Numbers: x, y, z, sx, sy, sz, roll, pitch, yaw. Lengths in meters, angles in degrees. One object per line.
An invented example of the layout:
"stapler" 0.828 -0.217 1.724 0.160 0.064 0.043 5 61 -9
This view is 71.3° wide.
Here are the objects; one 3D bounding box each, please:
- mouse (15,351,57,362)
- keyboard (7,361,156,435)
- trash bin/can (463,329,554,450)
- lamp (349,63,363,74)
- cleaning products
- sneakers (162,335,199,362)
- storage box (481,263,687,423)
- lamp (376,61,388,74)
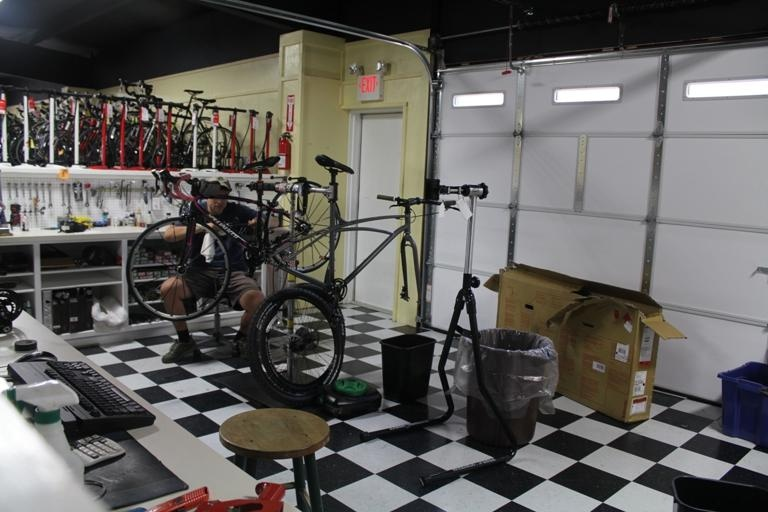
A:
"mouse" -1.642 0.478 2.569 0.069 0.025 0.104 3 3 24
"keyboard" -1.219 0.445 2.193 0.333 0.084 0.612 -6 23 -44
"trash bin/can" 0.811 0.934 4.101 0.776 0.745 0.794 0 5 3
"lamp" -0.337 -2.357 6.660 0.146 0.132 0.157 -11 18 -44
"cleaning products" -1.098 0.586 1.775 0.182 0.366 0.080 3 13 3
"sneakers" -1.888 0.880 5.084 0.354 0.206 0.180 1 -2 -31
"storage box" 1.662 0.685 4.669 0.587 1.010 1.709 -8 14 -31
"lamp" -0.027 -2.273 6.397 0.102 0.127 0.140 7 6 43
